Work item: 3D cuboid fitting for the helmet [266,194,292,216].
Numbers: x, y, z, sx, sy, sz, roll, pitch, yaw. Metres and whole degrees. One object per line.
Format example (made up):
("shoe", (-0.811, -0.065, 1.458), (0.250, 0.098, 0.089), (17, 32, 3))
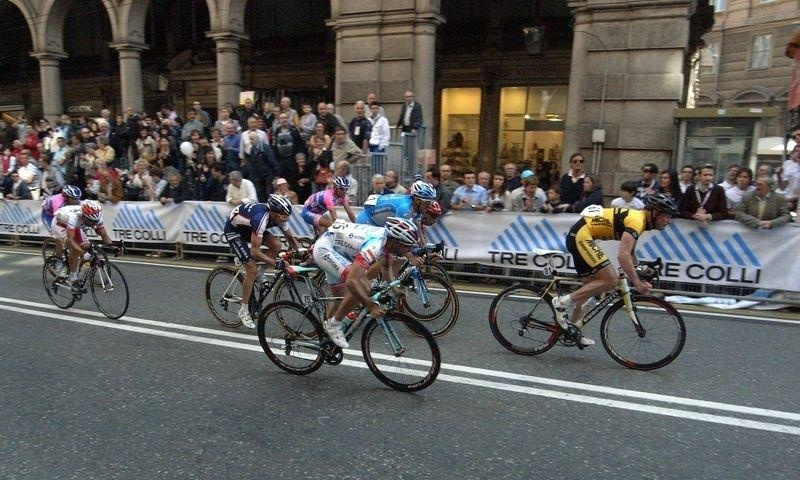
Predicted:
("helmet", (-2.436, -0.709, 17.183), (0.582, 0.248, 0.360), (12, 34, 21))

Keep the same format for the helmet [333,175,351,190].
("helmet", (-1.362, -1.269, 18.731), (0.400, 0.293, 0.282), (8, 34, 24))

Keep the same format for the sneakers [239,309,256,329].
("sneakers", (-3.271, 1.667, 17.600), (0.568, 0.196, 0.226), (19, 19, 39))

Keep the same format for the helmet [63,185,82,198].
("helmet", (-7.499, -1.096, 18.778), (0.499, 0.143, 0.309), (18, 8, 20))

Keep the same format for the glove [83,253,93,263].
("glove", (-6.894, 0.394, 18.313), (0.213, 0.049, 0.180), (-10, 42, -25))

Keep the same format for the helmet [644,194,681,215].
("helmet", (5.169, -0.675, 16.433), (0.624, 0.188, 0.416), (15, 8, 34))

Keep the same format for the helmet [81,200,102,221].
("helmet", (-6.846, -0.629, 18.376), (0.393, 0.427, 0.411), (-5, 13, -24))

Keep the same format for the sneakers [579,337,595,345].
("sneakers", (3.773, 2.040, 16.733), (0.256, 0.188, 0.230), (3, 12, 14))

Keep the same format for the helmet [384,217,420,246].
("helmet", (0.071, -0.179, 15.655), (0.658, 0.303, 0.433), (34, 29, 2))

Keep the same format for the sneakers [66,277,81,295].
("sneakers", (-7.277, 1.013, 18.478), (0.182, 0.228, 0.372), (-31, 68, -10))
